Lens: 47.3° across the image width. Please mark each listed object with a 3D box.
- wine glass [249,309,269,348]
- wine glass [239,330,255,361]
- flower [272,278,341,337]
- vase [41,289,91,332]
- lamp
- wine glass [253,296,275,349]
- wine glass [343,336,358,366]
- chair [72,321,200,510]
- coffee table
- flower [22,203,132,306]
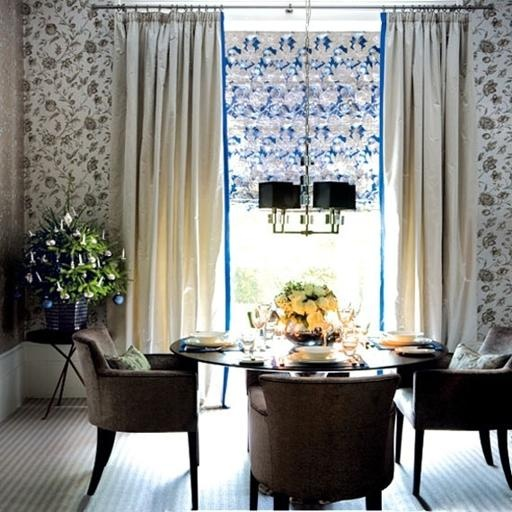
[{"bbox_3d":[0.028,0.390,3.320,0.156,0.278,0.155,-1,0,-1],"label":"wine glass"},{"bbox_3d":[-0.037,0.478,3.174,0.073,0.135,0.081,0,-6,-2],"label":"wine glass"},{"bbox_3d":[0.304,0.300,3.182,0.293,0.321,0.285,7,-10,-37],"label":"flower"},{"bbox_3d":[-1.346,0.394,4.192,0.266,0.249,0.282,3,2,40],"label":"vase"},{"bbox_3d":[0.334,-0.981,3.849,0.645,1.755,1.568,1,5,8],"label":"lamp"},{"bbox_3d":[0.058,0.395,3.251,0.110,0.256,0.118,-3,-4,21],"label":"wine glass"},{"bbox_3d":[0.485,0.472,2.890,0.082,0.164,0.097,3,7,19],"label":"wine glass"},{"bbox_3d":[-0.550,0.825,3.328,0.712,1.008,0.747,0,3,-2],"label":"chair"},{"bbox_3d":[-1.344,0.794,4.146,0.383,0.546,0.469,-5,5,-2],"label":"coffee table"},{"bbox_3d":[-1.273,-0.026,4.217,0.609,0.741,0.671,0,-1,-3],"label":"flower"}]
